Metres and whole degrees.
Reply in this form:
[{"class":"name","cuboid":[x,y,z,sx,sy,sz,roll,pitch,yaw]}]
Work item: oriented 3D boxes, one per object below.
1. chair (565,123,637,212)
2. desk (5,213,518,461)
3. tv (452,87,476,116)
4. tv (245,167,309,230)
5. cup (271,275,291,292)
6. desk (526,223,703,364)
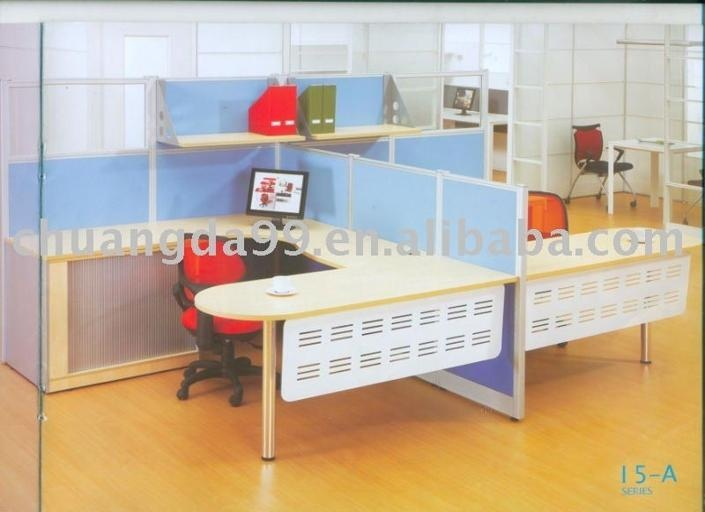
[{"class":"chair","cuboid":[2.102,-0.766,5.347,0.452,0.641,0.515,-6,15,-17]},{"class":"desk","cuboid":[-0.460,0.170,2.979,1.306,0.536,1.372,-7,12,-34]},{"class":"tv","cuboid":[0.894,-1.227,5.071,0.095,0.262,0.263,0,10,-44]},{"class":"tv","cuboid":[-0.432,-0.324,3.633,0.340,0.311,0.109,9,22,12]},{"class":"cup","cuboid":[-0.288,0.110,2.522,0.056,0.045,0.069,5,10,20]},{"class":"desk","cuboid":[1.193,0.105,3.075,1.028,0.519,0.590,-9,15,-37]}]
